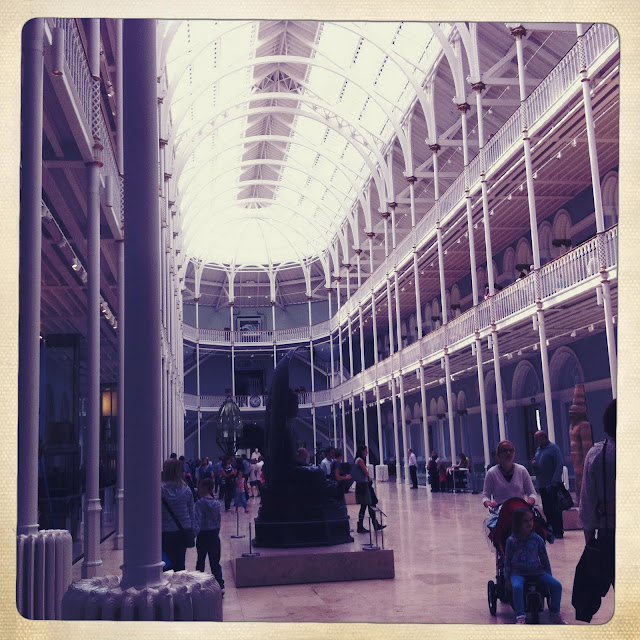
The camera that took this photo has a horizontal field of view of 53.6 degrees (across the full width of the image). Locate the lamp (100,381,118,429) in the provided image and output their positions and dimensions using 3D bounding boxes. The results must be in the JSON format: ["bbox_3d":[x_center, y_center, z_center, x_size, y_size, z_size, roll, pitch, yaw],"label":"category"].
[{"bbox_3d":[-6.216,2.481,18.630,0.449,1.132,1.586,4,-20,-20],"label":"lamp"}]

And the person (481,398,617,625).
[{"bbox_3d":[1.895,1.549,4.944,0.377,1.568,1.409,3,-18,-18],"label":"person"}]
